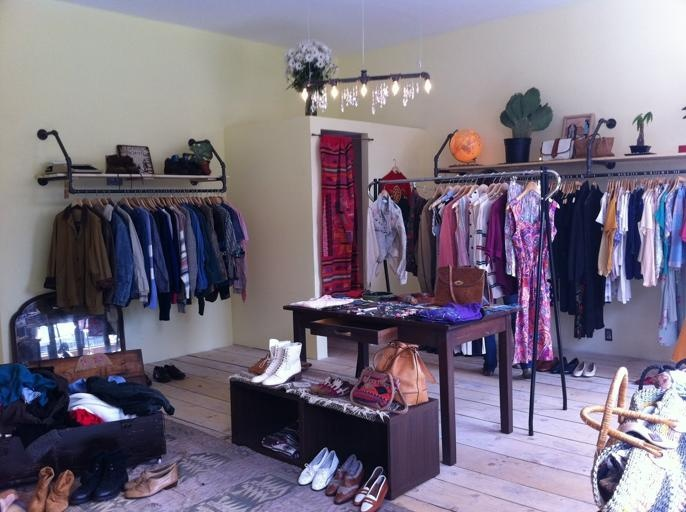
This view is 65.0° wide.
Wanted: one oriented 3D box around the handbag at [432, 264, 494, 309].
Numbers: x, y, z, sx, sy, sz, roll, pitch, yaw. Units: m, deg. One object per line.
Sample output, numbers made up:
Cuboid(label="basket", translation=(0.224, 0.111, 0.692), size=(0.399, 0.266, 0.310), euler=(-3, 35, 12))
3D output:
Cuboid(label="handbag", translation=(0.851, 0.231, 3.922), size=(0.517, 0.466, 0.237), euler=(-2, -7, 32))

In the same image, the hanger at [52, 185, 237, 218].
Cuboid(label="hanger", translation=(-2.002, -0.581, 5.580), size=(1.584, 0.187, 0.744), euler=(-7, 10, -30))

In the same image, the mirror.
Cuboid(label="mirror", translation=(-2.603, 0.643, 4.968), size=(0.614, 0.645, 0.042), euler=(-4, 4, -28))

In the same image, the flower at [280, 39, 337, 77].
Cuboid(label="flower", translation=(-0.315, -2.072, 5.699), size=(0.414, 0.289, 0.427), euler=(5, 12, 23))

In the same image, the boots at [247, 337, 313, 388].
Cuboid(label="boots", translation=(-0.440, 0.752, 3.739), size=(0.187, 0.304, 0.413), euler=(0, 2, 41))

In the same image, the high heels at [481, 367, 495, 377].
Cuboid(label="high heels", translation=(1.361, 1.100, 5.105), size=(0.055, 0.068, 0.155), euler=(-4, -9, 29))

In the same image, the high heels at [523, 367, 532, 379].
Cuboid(label="high heels", translation=(1.697, 1.095, 5.016), size=(0.069, 0.094, 0.149), euler=(-1, 9, 11))

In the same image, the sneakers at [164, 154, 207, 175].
Cuboid(label="sneakers", translation=(-1.646, -0.941, 5.641), size=(0.247, 0.130, 0.335), euler=(2, 3, 14))

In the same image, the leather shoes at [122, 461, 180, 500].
Cuboid(label="leather shoes", translation=(-1.196, 1.411, 3.373), size=(0.247, 0.096, 0.144), euler=(-1, 6, -39))

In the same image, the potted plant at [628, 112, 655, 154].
Cuboid(label="potted plant", translation=(2.820, -1.162, 5.094), size=(0.169, 0.421, 0.492), euler=(3, 10, 30))

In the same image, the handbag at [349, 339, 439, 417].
Cuboid(label="handbag", translation=(0.313, 0.849, 3.540), size=(0.410, 0.470, 0.396), euler=(-11, -38, 39))

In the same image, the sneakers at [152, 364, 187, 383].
Cuboid(label="sneakers", translation=(-1.748, 1.168, 5.312), size=(0.174, 0.088, 0.226), euler=(0, -1, -42))
